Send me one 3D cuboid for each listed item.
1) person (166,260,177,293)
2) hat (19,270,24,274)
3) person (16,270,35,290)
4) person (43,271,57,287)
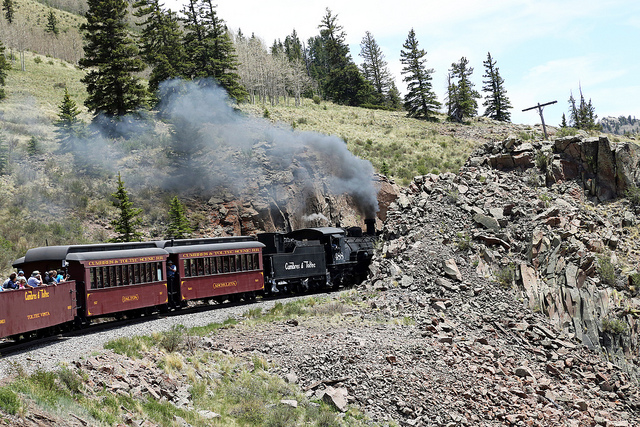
[{"bbox_3d":[-9.330,3.992,33.368,0.532,2.020,0.234,-6,5,-30],"label":"person"},{"bbox_3d":[-15.749,3.140,27.872,0.167,0.152,0.178,-1,-2,3],"label":"hat"},{"bbox_3d":[-15.377,3.542,27.542,0.711,0.715,1.044,-8,6,-38],"label":"person"},{"bbox_3d":[-14.542,3.604,28.529,0.578,0.884,0.320,0,0,-13],"label":"person"}]
